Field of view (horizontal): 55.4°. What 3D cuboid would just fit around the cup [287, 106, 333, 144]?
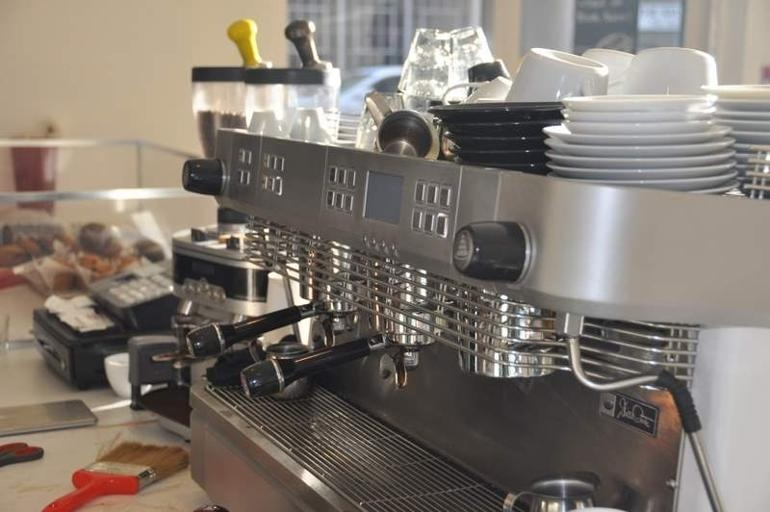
[{"bbox_3d":[-0.096,-0.181,1.041,0.064,0.061,0.071,1,10,10],"label":"cup"}]

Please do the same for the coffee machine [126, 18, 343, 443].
[{"bbox_3d":[-0.305,-0.085,1.446,0.422,0.785,0.397,-3,13,-26],"label":"coffee machine"}]

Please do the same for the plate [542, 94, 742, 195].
[{"bbox_3d":[0.247,-0.080,0.691,0.122,0.064,0.122,0,3,6],"label":"plate"}]

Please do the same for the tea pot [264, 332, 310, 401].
[{"bbox_3d":[-0.135,0.170,1.170,0.089,0.098,0.089,1,11,0],"label":"tea pot"}]

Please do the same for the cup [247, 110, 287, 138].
[{"bbox_3d":[-0.174,-0.192,1.075,0.038,0.040,0.056,0,-2,5],"label":"cup"}]

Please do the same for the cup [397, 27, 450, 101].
[{"bbox_3d":[0.063,-0.300,1.143,0.099,0.109,0.093,5,11,-1],"label":"cup"}]

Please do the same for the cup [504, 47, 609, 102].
[{"bbox_3d":[0.192,-0.199,0.806,0.100,0.056,0.124,11,18,42],"label":"cup"}]

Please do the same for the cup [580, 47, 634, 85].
[{"bbox_3d":[0.285,-0.246,0.938,0.055,0.042,0.060,-1,16,0],"label":"cup"}]

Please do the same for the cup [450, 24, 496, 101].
[{"bbox_3d":[0.145,-0.311,1.148,0.076,0.104,0.077,-5,10,1],"label":"cup"}]

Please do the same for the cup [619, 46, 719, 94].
[{"bbox_3d":[0.325,-0.208,0.836,0.073,0.067,0.072,5,8,-1],"label":"cup"}]

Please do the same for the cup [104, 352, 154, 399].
[{"bbox_3d":[-0.571,0.257,1.638,0.104,0.081,0.104,-1,0,0],"label":"cup"}]
